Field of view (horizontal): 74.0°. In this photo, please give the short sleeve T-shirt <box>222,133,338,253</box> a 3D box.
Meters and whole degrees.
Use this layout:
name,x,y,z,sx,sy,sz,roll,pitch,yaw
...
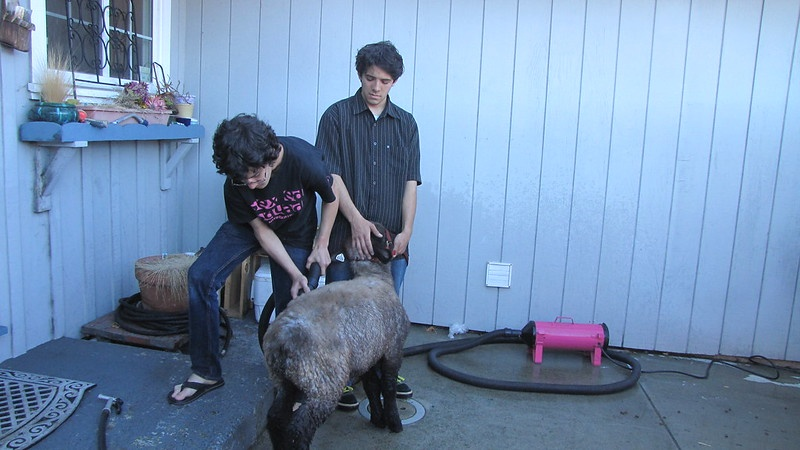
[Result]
name,x,y,z,sx,sy,sz,roll,pitch,yaw
short sleeve T-shirt,-0.988,-0.238,4.280,0.877,0.927,0.533,-3,46,0

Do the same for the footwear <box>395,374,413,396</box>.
name,x,y,z,sx,sy,sz,roll,pitch,yaw
footwear,0.006,1.517,5.043,0.118,0.136,0.321,1,-5,-16

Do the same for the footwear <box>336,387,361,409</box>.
name,x,y,z,sx,sy,sz,roll,pitch,yaw
footwear,-0.478,1.565,4.748,0.138,0.164,0.371,0,1,-4

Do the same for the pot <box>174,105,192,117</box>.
name,x,y,z,sx,sy,sz,roll,pitch,yaw
pot,-2.305,-1.218,5.634,0.144,0.102,0.141,-1,5,0

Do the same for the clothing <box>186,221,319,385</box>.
name,x,y,z,sx,sy,sz,roll,pitch,yaw
clothing,-1.257,0.630,4.717,1.024,1.281,0.891,4,9,-7

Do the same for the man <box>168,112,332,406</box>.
name,x,y,z,sx,sy,sz,roll,pitch,yaw
man,-1.260,0.250,4.344,1.529,2.242,1.190,-11,25,-35
